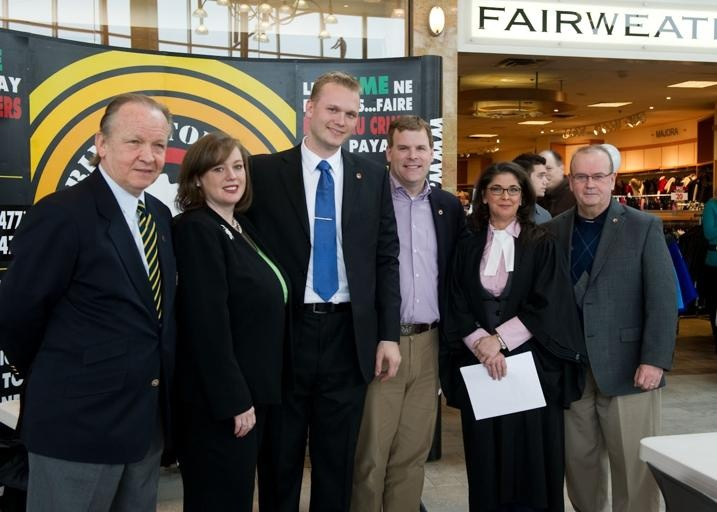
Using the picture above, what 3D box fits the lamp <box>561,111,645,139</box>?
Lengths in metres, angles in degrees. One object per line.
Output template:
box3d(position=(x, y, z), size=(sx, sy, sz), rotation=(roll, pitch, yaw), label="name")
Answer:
box3d(position=(6.119, -3.290, 15.344), size=(1.393, 0.486, 3.923), rotation=(1, 10, 10), label="lamp")

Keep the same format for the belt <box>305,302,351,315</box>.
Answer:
box3d(position=(-0.156, 0.263, 3.045), size=(0.228, 0.057, 0.028), rotation=(-3, 10, -13), label="belt")

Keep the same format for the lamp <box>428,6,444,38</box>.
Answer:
box3d(position=(0.625, -1.885, 4.843), size=(0.182, 0.187, 0.048), rotation=(-3, 7, -8), label="lamp")

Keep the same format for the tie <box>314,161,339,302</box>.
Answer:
box3d(position=(-0.172, -0.135, 3.081), size=(0.123, 0.696, 0.231), rotation=(-1, 10, -2), label="tie")

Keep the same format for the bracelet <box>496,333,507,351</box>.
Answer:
box3d(position=(0.777, 0.470, 3.287), size=(0.026, 0.090, 0.068), rotation=(-33, -9, 13), label="bracelet")
